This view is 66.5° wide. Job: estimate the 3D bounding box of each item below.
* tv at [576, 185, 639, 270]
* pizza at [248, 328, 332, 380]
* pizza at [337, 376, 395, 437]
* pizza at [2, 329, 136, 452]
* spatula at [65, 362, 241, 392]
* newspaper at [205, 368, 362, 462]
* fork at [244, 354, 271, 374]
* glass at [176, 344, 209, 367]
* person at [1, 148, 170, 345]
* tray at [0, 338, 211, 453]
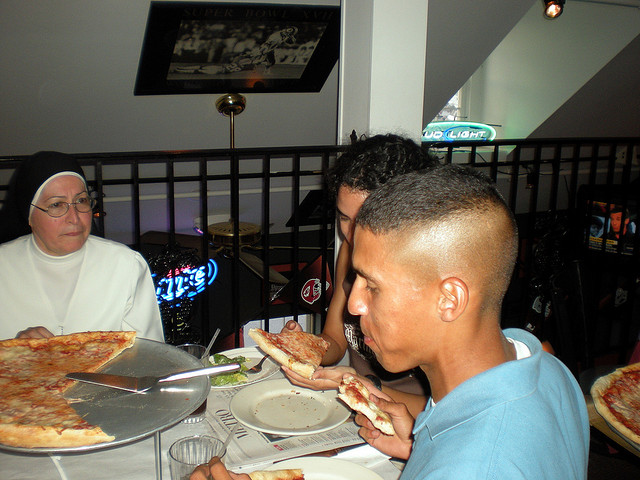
[{"bbox_3d":[2.659,-0.112,4.499,0.396,0.667,0.718,-4,11,-20],"label":"tv"},{"bbox_3d":[-0.088,0.494,2.176,0.347,0.087,0.395,32,16,36],"label":"pizza"},{"bbox_3d":[0.156,0.594,1.733,0.207,0.057,0.128,42,39,8],"label":"pizza"},{"bbox_3d":[-0.971,0.576,1.865,0.448,0.072,0.475,-2,22,-12],"label":"pizza"},{"bbox_3d":[-0.647,0.498,1.790,0.726,0.086,0.121,-5,18,10],"label":"spatula"},{"bbox_3d":[-0.162,0.680,1.821,0.623,0.117,0.367,1,4,6],"label":"newspaper"},{"bbox_3d":[-0.270,0.554,2.148,0.030,0.025,0.176,14,24,10],"label":"fork"},{"bbox_3d":[-0.544,0.487,2.109,0.134,0.134,0.122,1,5,-9],"label":"glass"},{"bbox_3d":[-1.242,0.044,2.556,0.792,0.997,0.275,-1,5,-16],"label":"person"},{"bbox_3d":[-0.669,0.526,1.757,0.526,0.189,0.629,0,4,-12],"label":"tray"}]
